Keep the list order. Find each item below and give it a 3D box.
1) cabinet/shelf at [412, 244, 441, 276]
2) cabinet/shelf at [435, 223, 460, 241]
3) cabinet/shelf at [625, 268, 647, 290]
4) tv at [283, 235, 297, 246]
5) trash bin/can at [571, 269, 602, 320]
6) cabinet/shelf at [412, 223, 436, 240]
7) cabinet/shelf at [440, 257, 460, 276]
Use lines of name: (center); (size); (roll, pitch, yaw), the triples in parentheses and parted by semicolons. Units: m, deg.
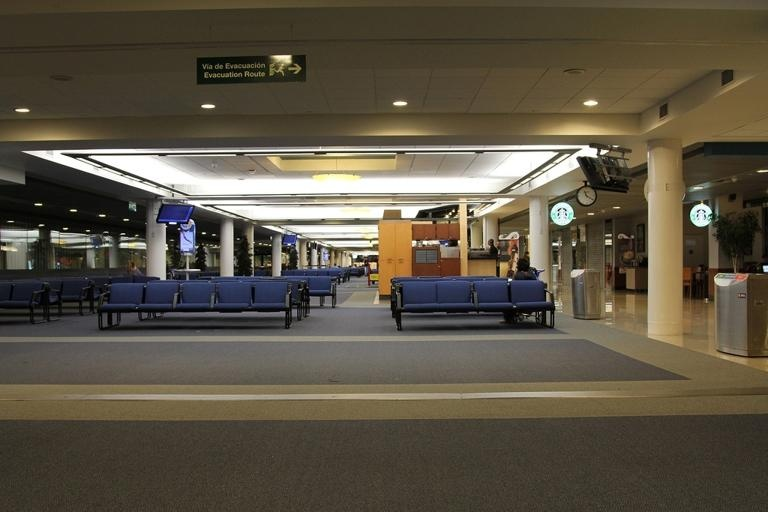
cabinet/shelf: (1.680, 0.211, 20.601); (1.510, 1.141, 1.032); (-1, -5, 2)
cabinet/shelf: (2.660, -0.995, 22.360); (1.448, 0.756, 0.650); (0, -2, -1)
cabinet/shelf: (11.432, 1.040, 24.054); (0.723, 0.957, 1.186); (0, 1, 1)
tv: (-6.896, -1.167, 38.579); (0.990, 0.814, 1.728); (-2, 6, -11)
trash bin/can: (5.067, 0.966, 13.272); (0.692, 1.201, 0.816); (2, 7, 19)
cabinet/shelf: (1.645, -0.951, 22.263); (1.326, 0.653, 0.642); (0, -3, -3)
cabinet/shelf: (2.504, 0.413, 20.375); (1.146, 0.857, 0.616); (-1, 1, 3)
